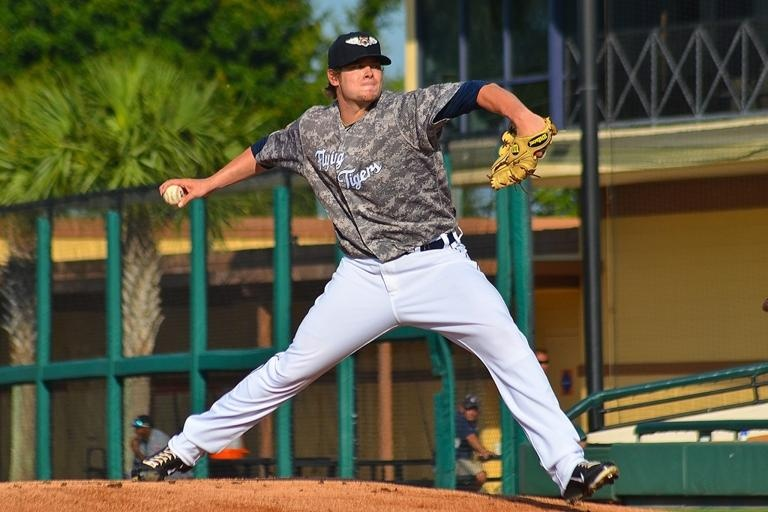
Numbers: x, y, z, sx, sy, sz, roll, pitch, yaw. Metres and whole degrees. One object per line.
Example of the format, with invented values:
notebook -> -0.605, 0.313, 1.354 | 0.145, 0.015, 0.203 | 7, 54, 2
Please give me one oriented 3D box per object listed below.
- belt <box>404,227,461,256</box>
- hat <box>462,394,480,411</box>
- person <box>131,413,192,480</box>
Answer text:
belt -> 0.677, -0.150, 28.745 | 0.378, 0.090, 0.362 | -24, -5, 38
hat -> 1.141, 1.840, 30.694 | 0.165, 0.212, 0.199 | 8, -5, 6
person -> -2.777, 2.375, 30.327 | 0.279, 0.895, 0.386 | 12, 5, 18
